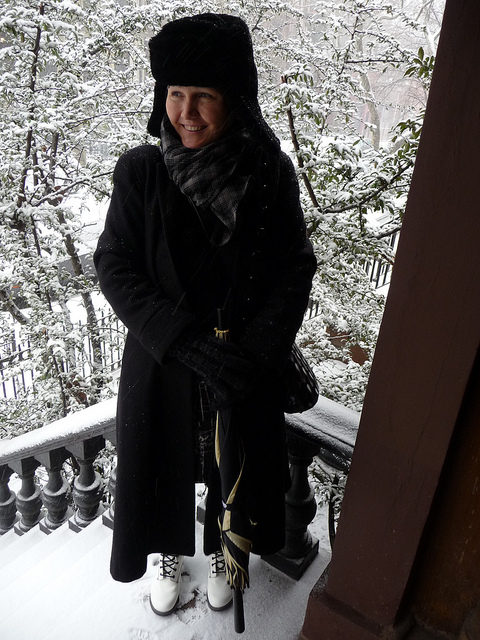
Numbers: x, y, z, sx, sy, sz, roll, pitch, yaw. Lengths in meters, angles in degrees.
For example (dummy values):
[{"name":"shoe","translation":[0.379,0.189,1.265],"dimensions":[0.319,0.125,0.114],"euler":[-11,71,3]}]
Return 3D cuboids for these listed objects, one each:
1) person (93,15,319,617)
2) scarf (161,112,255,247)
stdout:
[{"name":"person","translation":[-0.080,0.078,1.496],"dimensions":[0.569,1.694,0.507],"euler":[15,19,32]},{"name":"scarf","translation":[-0.088,-0.359,1.347],"dimensions":[0.232,0.296,0.164],"euler":[4,17,-6]}]
